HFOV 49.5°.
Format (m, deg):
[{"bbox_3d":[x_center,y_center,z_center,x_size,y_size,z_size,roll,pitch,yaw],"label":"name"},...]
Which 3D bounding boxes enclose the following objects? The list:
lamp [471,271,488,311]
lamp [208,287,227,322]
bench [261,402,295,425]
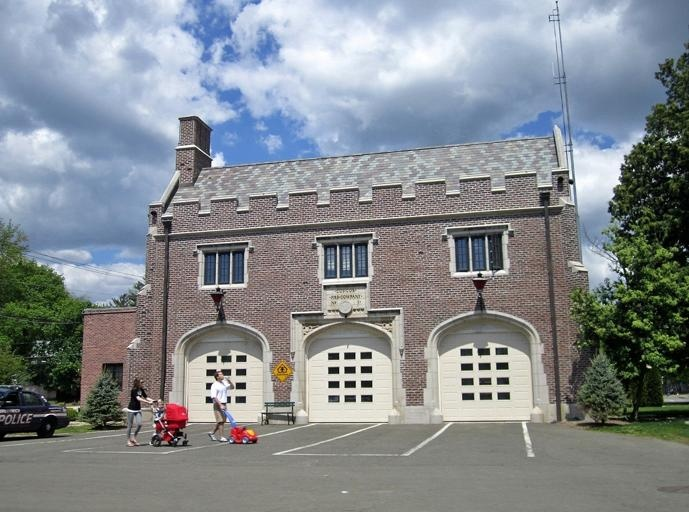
[{"bbox_3d":[5.393,1.393,29.565,0.615,1.501,0.626,-3,-15,9],"label":"lamp"},{"bbox_3d":[-5.437,2.015,31.959,0.580,1.453,0.575,-2,-15,8],"label":"lamp"},{"bbox_3d":[-2.777,6.358,30.682,1.460,0.959,0.604,-8,-17,25],"label":"bench"}]
